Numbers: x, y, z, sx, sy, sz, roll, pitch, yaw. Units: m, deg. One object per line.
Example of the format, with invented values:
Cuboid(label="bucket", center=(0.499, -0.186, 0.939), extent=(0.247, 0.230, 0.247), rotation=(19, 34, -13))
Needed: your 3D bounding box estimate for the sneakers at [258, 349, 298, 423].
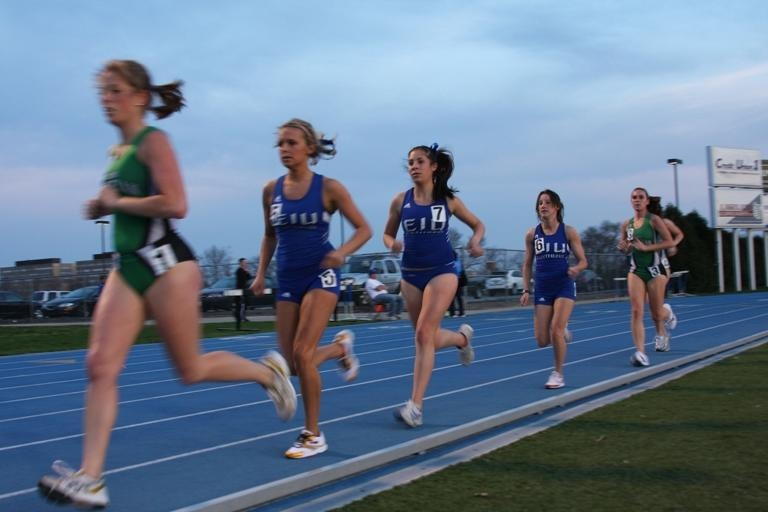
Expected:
Cuboid(label="sneakers", center=(-0.763, 0.965, 5.541), extent=(0.226, 0.566, 0.255), rotation=(-22, 19, 8))

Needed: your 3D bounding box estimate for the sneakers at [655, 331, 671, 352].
Cuboid(label="sneakers", center=(4.023, 1.209, 10.470), extent=(0.146, 0.125, 0.339), rotation=(-10, 8, 33))

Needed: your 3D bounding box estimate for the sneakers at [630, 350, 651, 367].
Cuboid(label="sneakers", center=(3.153, 1.272, 8.988), extent=(0.124, 0.120, 0.302), rotation=(-4, -12, 32))

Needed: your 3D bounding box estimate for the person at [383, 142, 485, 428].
Cuboid(label="person", center=(0.443, 0.201, 6.751), extent=(0.931, 2.544, 1.550), rotation=(-1, -1, 6))

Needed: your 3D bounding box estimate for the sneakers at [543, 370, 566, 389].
Cuboid(label="sneakers", center=(1.826, 1.321, 7.805), extent=(0.214, 0.165, 0.267), rotation=(-1, -1, 12))

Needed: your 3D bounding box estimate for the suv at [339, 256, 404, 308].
Cuboid(label="suv", center=(-0.590, 0.509, 21.656), extent=(2.223, 1.041, 1.162), rotation=(4, -6, -43))

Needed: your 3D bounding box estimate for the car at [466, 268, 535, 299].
Cuboid(label="car", center=(3.591, 0.942, 24.626), extent=(0.988, 0.568, 2.063), rotation=(-1, 3, 30))

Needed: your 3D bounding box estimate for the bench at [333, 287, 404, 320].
Cuboid(label="bench", center=(-0.483, 1.423, 20.304), extent=(1.965, 1.003, 1.142), rotation=(-1, 1, 6))

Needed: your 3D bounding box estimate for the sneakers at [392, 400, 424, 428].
Cuboid(label="sneakers", center=(0.192, 1.368, 6.429), extent=(0.195, 0.214, 0.385), rotation=(0, -1, -37))

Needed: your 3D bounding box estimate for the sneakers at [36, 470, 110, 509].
Cuboid(label="sneakers", center=(-1.934, 1.446, 4.598), extent=(0.433, 0.155, 0.218), rotation=(10, -13, 1))

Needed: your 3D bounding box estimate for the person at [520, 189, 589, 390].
Cuboid(label="person", center=(1.926, 0.330, 8.191), extent=(0.673, 2.148, 0.961), rotation=(-1, -1, 5))
